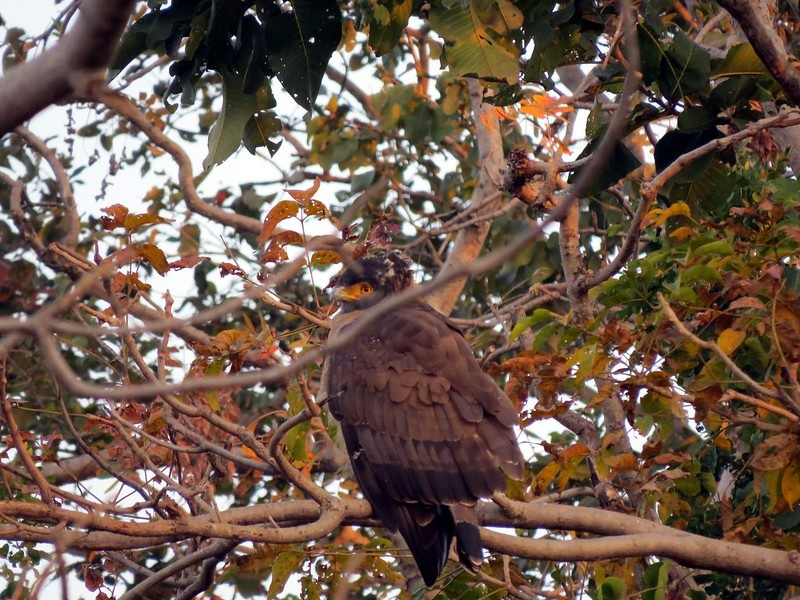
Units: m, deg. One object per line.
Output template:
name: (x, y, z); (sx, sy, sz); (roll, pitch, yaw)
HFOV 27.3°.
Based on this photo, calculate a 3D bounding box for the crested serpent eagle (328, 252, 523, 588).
crested serpent eagle: (0.124, 0.748, 9.080); (1.049, 1.726, 0.719); (-8, -50, 3)
